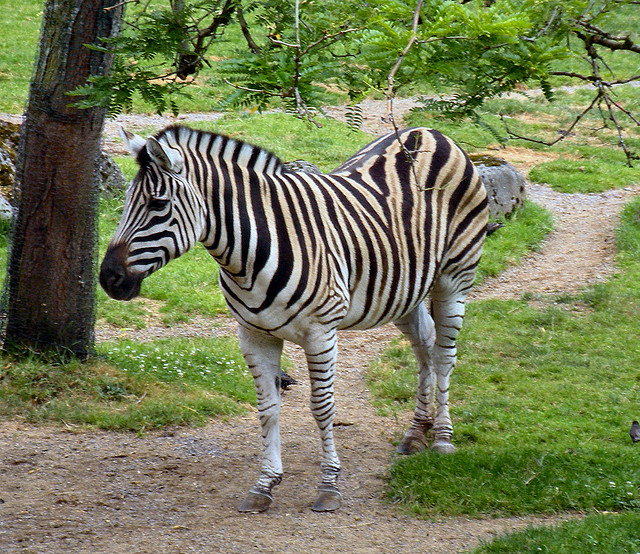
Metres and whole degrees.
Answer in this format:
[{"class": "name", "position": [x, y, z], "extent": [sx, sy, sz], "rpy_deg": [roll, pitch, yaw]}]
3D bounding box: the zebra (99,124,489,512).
[{"class": "zebra", "position": [-0.130, 0.240, 7.573], "extent": [3.228, 2.969, 1.253], "rpy_deg": [2, 19, -37]}]
